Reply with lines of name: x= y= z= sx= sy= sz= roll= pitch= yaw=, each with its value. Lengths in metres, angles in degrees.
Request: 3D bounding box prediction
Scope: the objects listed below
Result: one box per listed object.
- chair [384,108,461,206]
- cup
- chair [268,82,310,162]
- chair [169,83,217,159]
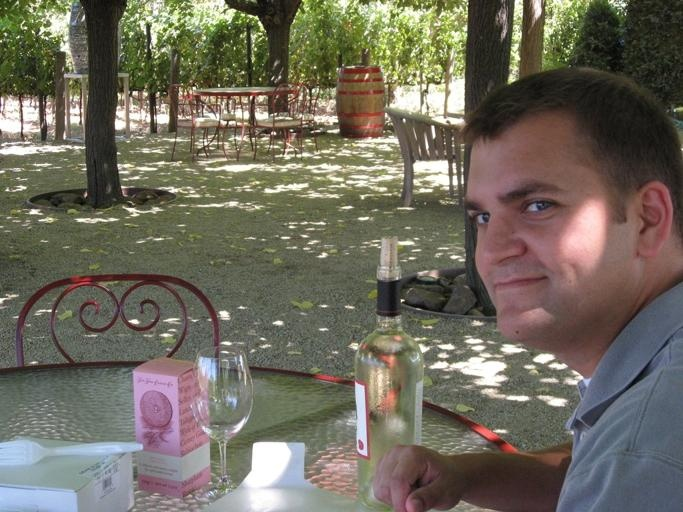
chair: x=1.126 y=-1.330 z=8.557 sx=1.152 sy=1.093 sz=1.040 roll=-6 pitch=6 yaw=-16
cup: x=-0.256 y=0.334 z=1.383 sx=0.122 sy=0.325 sz=0.221 roll=-2 pitch=8 yaw=-10
chair: x=-1.264 y=-2.784 z=13.266 sx=1.219 sy=1.417 sz=0.921 roll=-8 pitch=14 yaw=-7
chair: x=-2.902 y=-2.665 z=12.696 sx=1.093 sy=1.267 sz=0.984 roll=0 pitch=17 yaw=-17
